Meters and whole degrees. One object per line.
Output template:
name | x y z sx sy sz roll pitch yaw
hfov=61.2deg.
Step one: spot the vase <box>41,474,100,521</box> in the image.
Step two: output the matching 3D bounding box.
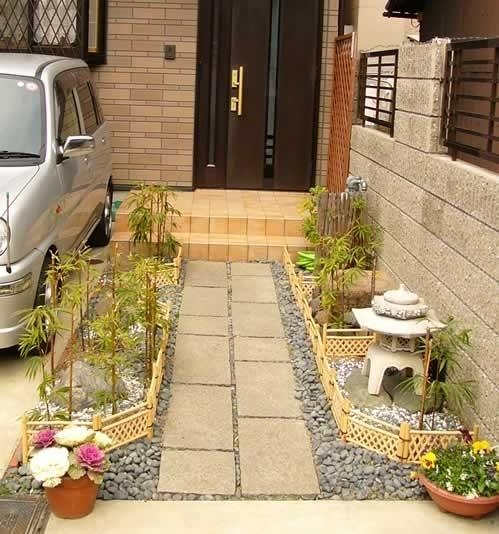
vase | -0.695 0.898 1.691 0.182 0.173 0.208 4 -11 -6
